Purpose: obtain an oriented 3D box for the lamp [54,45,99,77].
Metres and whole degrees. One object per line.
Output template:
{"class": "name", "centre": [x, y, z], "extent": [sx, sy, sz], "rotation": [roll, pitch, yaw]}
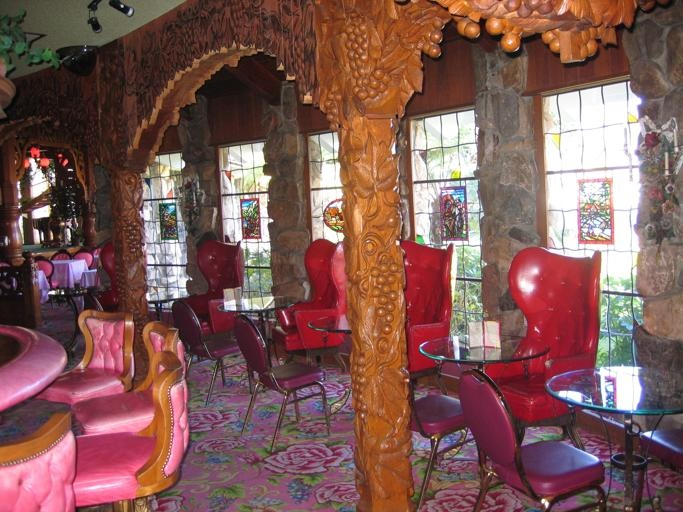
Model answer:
{"class": "lamp", "centre": [-2.558, -1.865, 5.258], "extent": [0.417, 0.265, 0.324], "rotation": [5, 11, 40]}
